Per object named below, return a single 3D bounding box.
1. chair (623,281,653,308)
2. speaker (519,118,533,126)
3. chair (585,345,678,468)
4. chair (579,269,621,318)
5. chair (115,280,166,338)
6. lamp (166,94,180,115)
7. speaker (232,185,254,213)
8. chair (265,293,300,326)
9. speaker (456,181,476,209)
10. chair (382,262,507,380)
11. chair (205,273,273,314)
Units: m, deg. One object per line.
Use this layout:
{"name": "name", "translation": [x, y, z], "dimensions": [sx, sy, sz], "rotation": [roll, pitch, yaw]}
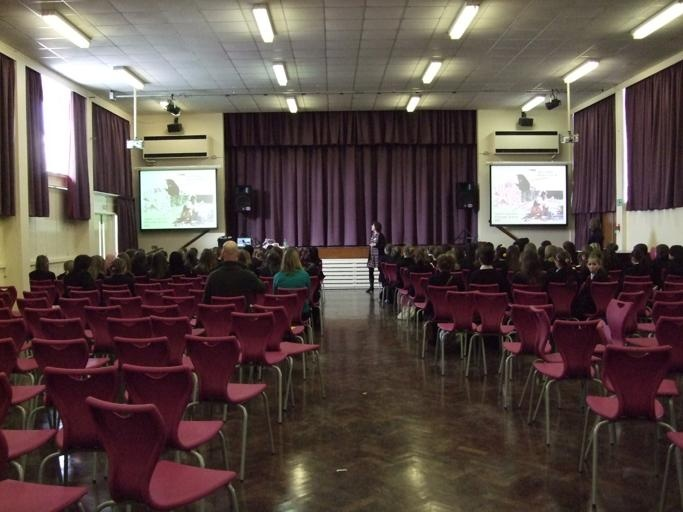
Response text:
{"name": "chair", "translation": [3.757, 0.482, 7.191], "dimensions": [0.313, 0.461, 0.349], "rotation": [1, 4, 19]}
{"name": "speaker", "translation": [5.121, -3.759, 15.719], "dimensions": [0.357, 0.243, 0.374], "rotation": [0, -1, -14]}
{"name": "chair", "translation": [2.308, 1.251, 4.657], "dimensions": [0.650, 1.161, 0.675], "rotation": [-1, 3, 23]}
{"name": "chair", "translation": [3.381, 0.517, 7.434], "dimensions": [0.426, 0.699, 0.508], "rotation": [-1, 26, 3]}
{"name": "chair", "translation": [-2.116, 0.609, 5.839], "dimensions": [0.435, 0.796, 0.566], "rotation": [0, -17, -12]}
{"name": "lamp", "translation": [-4.372, -3.946, 14.512], "dimensions": [0.228, 0.438, 0.591], "rotation": [-22, 50, -29]}
{"name": "speaker", "translation": [-3.003, -1.757, 17.457], "dimensions": [0.454, 0.857, 0.969], "rotation": [-3, 3, 1]}
{"name": "chair", "translation": [-0.671, 0.650, 6.862], "dimensions": [0.363, 0.509, 0.404], "rotation": [0, 4, 5]}
{"name": "speaker", "translation": [3.803, -1.864, 17.200], "dimensions": [0.674, 0.842, 0.503], "rotation": [-3, 3, 5]}
{"name": "chair", "translation": [1.633, 0.938, 7.789], "dimensions": [1.050, 1.111, 1.904], "rotation": [-3, 3, 1]}
{"name": "chair", "translation": [-1.241, 0.378, 6.778], "dimensions": [0.493, 0.716, 0.501], "rotation": [1, 5, 2]}
